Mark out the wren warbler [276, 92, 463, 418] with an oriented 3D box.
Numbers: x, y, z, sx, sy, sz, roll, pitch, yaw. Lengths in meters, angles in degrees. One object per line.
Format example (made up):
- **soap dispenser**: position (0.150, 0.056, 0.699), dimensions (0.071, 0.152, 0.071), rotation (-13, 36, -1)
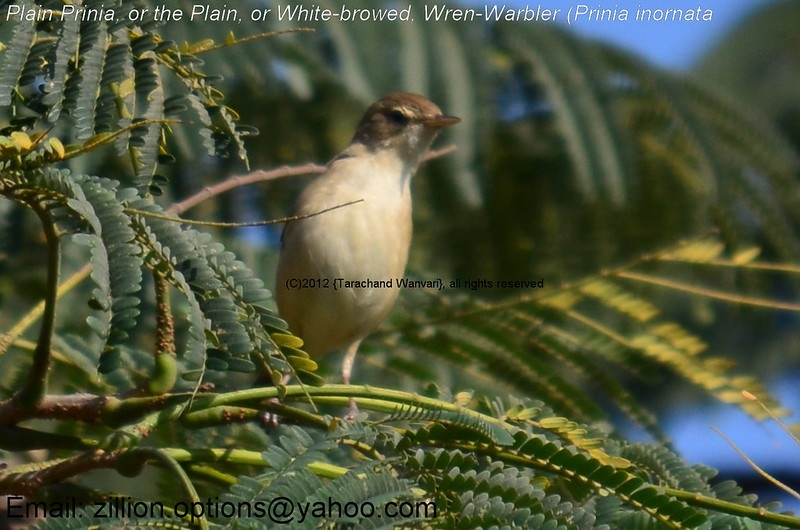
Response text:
- **wren warbler**: position (-0.266, -0.024, 7.032), dimensions (0.699, 1.448, 0.818), rotation (0, 3, -20)
